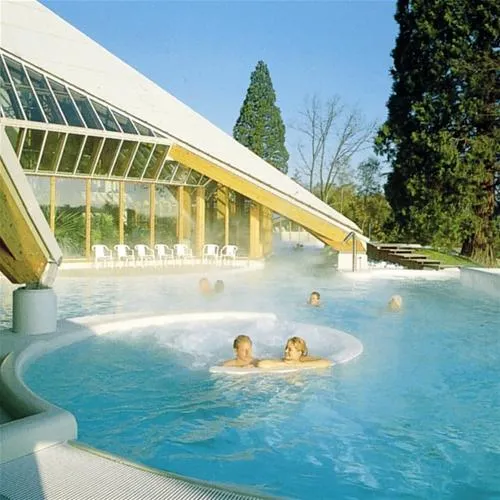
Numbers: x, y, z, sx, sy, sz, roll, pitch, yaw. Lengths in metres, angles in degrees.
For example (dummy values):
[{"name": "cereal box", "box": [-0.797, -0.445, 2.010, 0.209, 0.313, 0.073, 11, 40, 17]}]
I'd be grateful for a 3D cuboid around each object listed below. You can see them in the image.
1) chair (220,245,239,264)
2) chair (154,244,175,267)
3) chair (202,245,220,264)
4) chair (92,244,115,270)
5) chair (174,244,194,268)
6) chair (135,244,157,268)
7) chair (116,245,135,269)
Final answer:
[{"name": "chair", "box": [-0.961, 0.152, 20.872, 0.800, 1.036, 0.756, 1, -2, 12]}, {"name": "chair", "box": [-3.750, 0.185, 20.408, 0.893, 1.245, 0.951, -1, 2, -26]}, {"name": "chair", "box": [-1.786, 0.112, 21.337, 0.772, 1.148, 0.794, 0, -3, 1]}, {"name": "chair", "box": [-5.930, 0.249, 18.906, 0.969, 1.319, 0.955, -1, 2, -29]}, {"name": "chair", "box": [-3.019, 0.182, 20.899, 0.931, 1.259, 0.913, -1, 1, -23]}, {"name": "chair", "box": [-4.293, 0.172, 20.013, 0.944, 1.309, 0.994, -1, 0, -28]}, {"name": "chair", "box": [-5.219, 0.219, 19.409, 0.906, 1.225, 0.916, -2, 4, -28]}]
